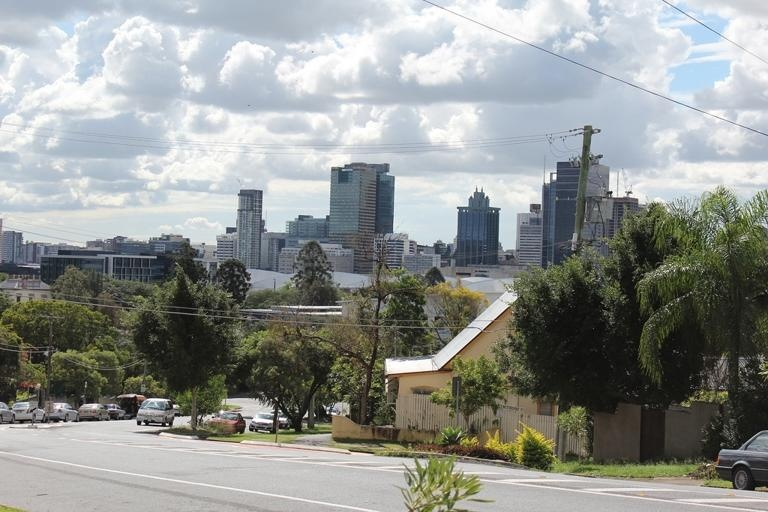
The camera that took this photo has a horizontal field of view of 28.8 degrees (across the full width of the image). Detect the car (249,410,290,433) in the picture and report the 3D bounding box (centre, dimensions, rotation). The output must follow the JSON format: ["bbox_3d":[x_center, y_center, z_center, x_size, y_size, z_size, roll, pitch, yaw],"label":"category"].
[{"bbox_3d":[-8.902,12.578,113.060,1.428,1.088,2.985,-1,-15,8],"label":"car"}]

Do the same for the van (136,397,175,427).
[{"bbox_3d":[-16.004,10.909,104.719,2.425,1.926,2.904,3,-7,-11],"label":"van"}]

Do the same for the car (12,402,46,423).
[{"bbox_3d":[-25.678,11.226,107.948,1.922,1.558,2.708,-4,-9,40],"label":"car"}]

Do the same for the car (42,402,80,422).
[{"bbox_3d":[-24.290,11.742,112.202,1.143,0.807,2.724,0,-1,11],"label":"car"}]

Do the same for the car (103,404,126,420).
[{"bbox_3d":[-21.404,12.504,119.774,0.963,0.671,1.916,3,0,6],"label":"car"}]
